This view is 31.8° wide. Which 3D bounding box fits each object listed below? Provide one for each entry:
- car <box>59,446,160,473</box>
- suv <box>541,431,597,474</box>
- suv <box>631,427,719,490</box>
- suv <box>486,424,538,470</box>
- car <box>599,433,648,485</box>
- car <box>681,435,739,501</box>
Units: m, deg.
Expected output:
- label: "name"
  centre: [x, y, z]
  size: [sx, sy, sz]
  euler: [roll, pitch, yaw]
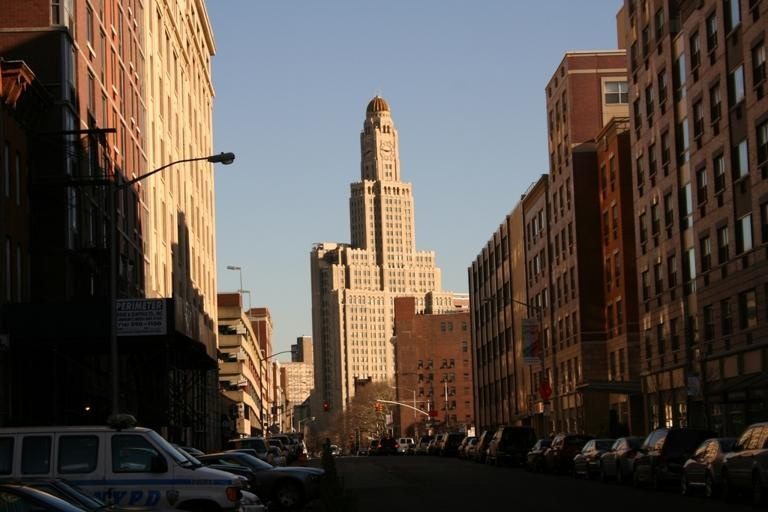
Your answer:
- label: "car"
  centre: [-8.907, 7.190, 47.575]
  size: [2.198, 1.196, 1.401]
  euler: [1, -12, 2]
- label: "suv"
  centre: [9.558, 10.321, 71.009]
  size: [1.322, 1.362, 3.031]
  euler: [0, -6, -7]
- label: "suv"
  centre: [12.385, 8.865, 59.961]
  size: [1.955, 1.704, 3.548]
  euler: [1, -6, -11]
- label: "suv"
  centre: [7.794, 11.737, 83.096]
  size: [2.497, 2.559, 5.124]
  euler: [1, -5, -2]
- label: "car"
  centre: [11.120, 9.517, 62.576]
  size: [1.996, 1.850, 4.844]
  euler: [0, -8, -3]
- label: "car"
  centre: [14.561, 8.874, 56.058]
  size: [1.910, 2.588, 3.899]
  euler: [0, 1, 1]
